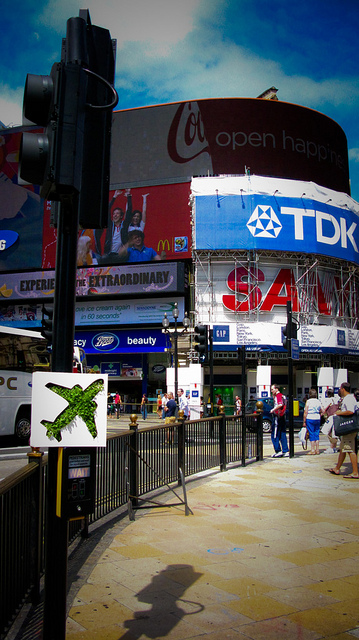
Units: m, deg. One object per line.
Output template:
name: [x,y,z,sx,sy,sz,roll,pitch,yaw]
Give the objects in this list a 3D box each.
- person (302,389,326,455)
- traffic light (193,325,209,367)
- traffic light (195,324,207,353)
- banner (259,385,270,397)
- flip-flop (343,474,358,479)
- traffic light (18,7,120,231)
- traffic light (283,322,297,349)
person: [3.892,3.018,14.818,0.472,1.896,1.108,-1,-9,14]
traffic light: [0.709,0.724,16.133,0.417,1.427,0.332,1,32,0]
traffic light: [0.693,0.550,15.952,0.320,0.912,1.037,1,-9,4]
banner: [5.720,4.793,34.189,0.759,0.890,0.621,1,-14,0]
flip-flop: [3.516,3.229,10.444,0.197,0.073,0.300,5,-9,-22]
traffic light: [-0.599,-1.212,2.859,0.542,1.483,0.756,4,-9,-17]
traffic light: [3.189,0.444,14.636,0.369,0.801,0.677,0,-9,11]
